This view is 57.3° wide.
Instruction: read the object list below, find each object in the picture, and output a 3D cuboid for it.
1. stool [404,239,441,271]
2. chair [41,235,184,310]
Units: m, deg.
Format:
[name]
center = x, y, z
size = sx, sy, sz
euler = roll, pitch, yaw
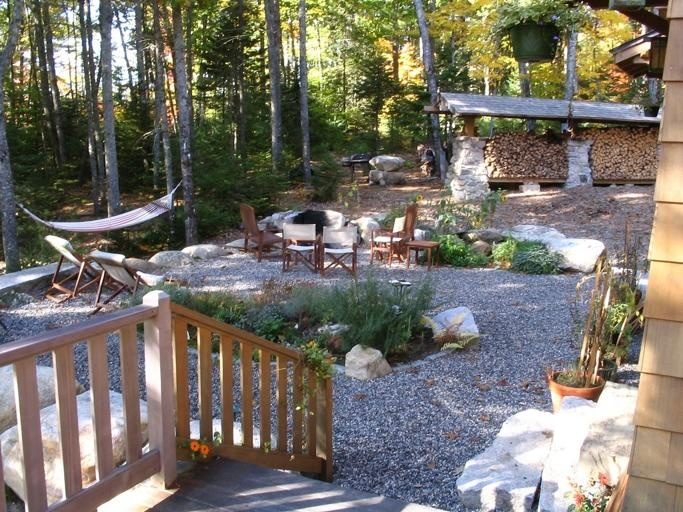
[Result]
[stool]
center = 1.267, -0.031, 9.909
size = 0.495, 0.468, 0.502
euler = 1, 6, 17
[chair]
center = -3.032, 0.164, 8.049
size = 0.949, 0.859, 1.867
euler = -15, 18, -40
